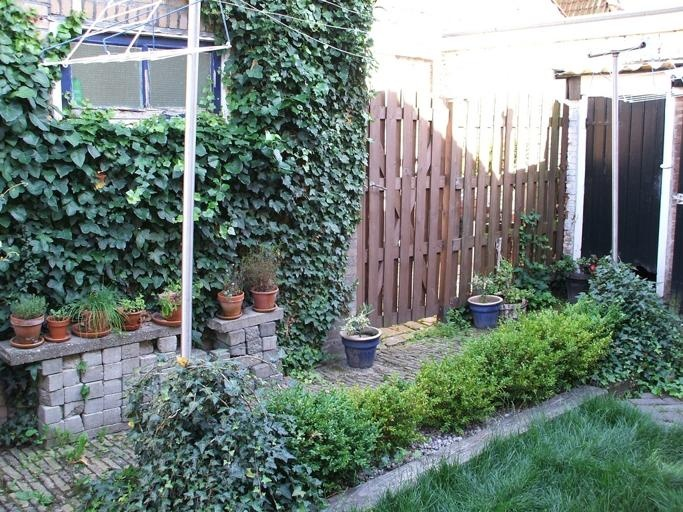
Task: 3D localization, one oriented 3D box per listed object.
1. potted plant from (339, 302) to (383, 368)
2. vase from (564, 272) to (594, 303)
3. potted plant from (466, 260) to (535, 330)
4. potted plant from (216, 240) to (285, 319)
[{"bbox_3d":[0.200,0.893,6.796,0.494,0.682,0.512,1,8,-17],"label":"potted plant"},{"bbox_3d":[3.395,0.469,8.707,0.295,0.426,0.362,4,10,19],"label":"vase"},{"bbox_3d":[2.089,0.520,8.097,0.819,0.833,0.645,-7,12,-38],"label":"potted plant"},{"bbox_3d":[-0.921,0.220,6.242,0.720,0.778,0.615,-4,6,-19],"label":"potted plant"}]
